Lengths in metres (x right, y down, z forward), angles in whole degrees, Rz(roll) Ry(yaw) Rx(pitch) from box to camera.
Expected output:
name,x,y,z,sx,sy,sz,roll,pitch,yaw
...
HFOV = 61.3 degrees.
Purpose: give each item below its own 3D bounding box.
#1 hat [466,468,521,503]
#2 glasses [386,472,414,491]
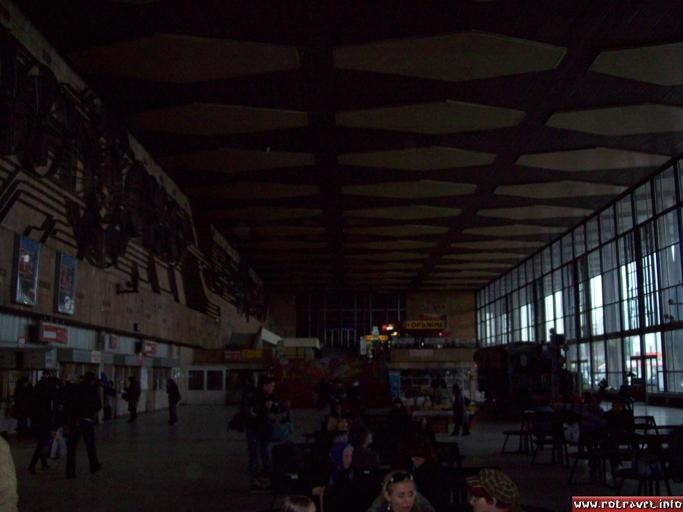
name,x,y,z,sx,sy,sz,roll,pitch,yaw
hat,1.355,2.091,5.144,0.363,0.149,0.269,22,27,24
glasses,0.533,2.159,5.541,0.166,0.102,0.221,5,-20,-12
